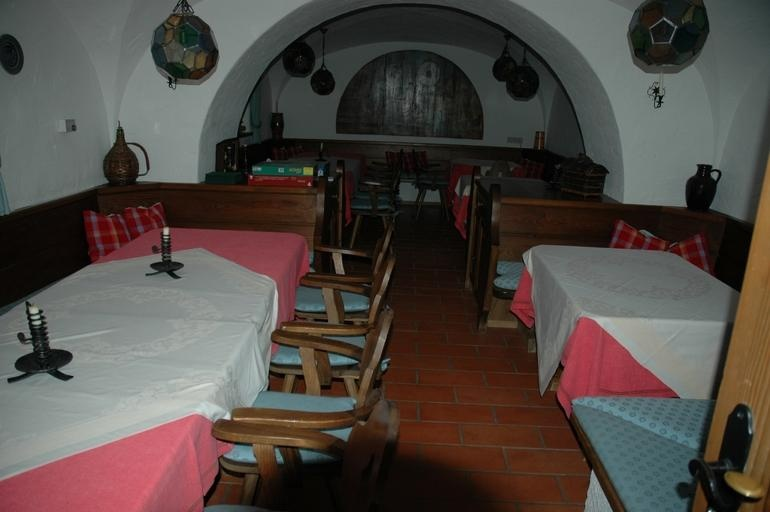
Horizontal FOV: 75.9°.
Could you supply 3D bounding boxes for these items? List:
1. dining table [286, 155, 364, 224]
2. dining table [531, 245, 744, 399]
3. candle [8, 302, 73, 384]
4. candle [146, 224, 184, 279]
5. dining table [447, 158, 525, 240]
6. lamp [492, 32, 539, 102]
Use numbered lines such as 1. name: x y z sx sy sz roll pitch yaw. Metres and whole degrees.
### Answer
1. dining table: -0.758 -0.863 5.922 0.981 0.535 1.316 2 23 0
2. dining table: 1.601 0.459 3.305 1.212 0.761 1.264 1 12 -2
3. candle: -1.567 0.410 2.248 0.254 0.322 0.242 7 13 7
4. candle: -1.354 -0.019 3.067 0.201 0.281 0.201 1 -1 -21
5. dining table: 1.230 -0.986 6.870 0.951 0.398 1.500 0 26 2
6. lamp: 1.915 -2.786 7.248 0.614 0.916 1.368 4 12 12
